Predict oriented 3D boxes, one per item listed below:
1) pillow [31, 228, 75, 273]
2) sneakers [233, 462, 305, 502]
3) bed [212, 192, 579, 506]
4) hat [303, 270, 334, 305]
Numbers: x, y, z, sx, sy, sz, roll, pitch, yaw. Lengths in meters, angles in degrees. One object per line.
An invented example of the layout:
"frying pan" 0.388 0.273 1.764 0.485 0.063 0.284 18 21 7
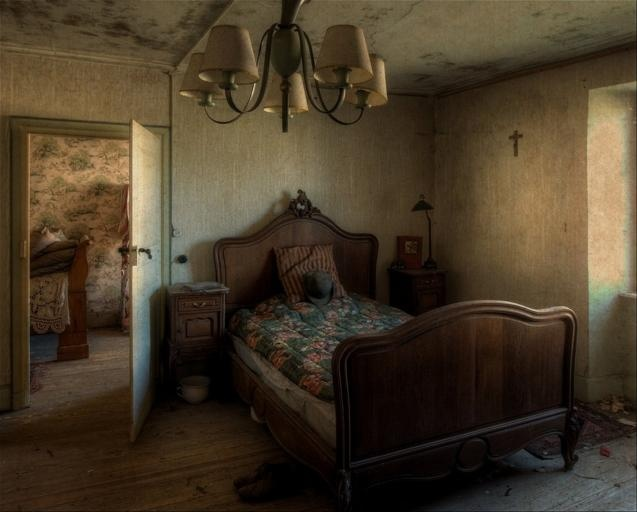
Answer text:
"pillow" -2.934 -0.061 6.022 0.503 0.276 0.643 13 -28 -41
"sneakers" -0.325 1.404 3.482 0.323 0.126 0.204 -5 7 -18
"bed" 0.270 0.447 4.357 2.292 1.673 2.703 -5 13 -23
"hat" 0.000 0.285 4.964 0.232 0.311 0.135 2 -29 -2
